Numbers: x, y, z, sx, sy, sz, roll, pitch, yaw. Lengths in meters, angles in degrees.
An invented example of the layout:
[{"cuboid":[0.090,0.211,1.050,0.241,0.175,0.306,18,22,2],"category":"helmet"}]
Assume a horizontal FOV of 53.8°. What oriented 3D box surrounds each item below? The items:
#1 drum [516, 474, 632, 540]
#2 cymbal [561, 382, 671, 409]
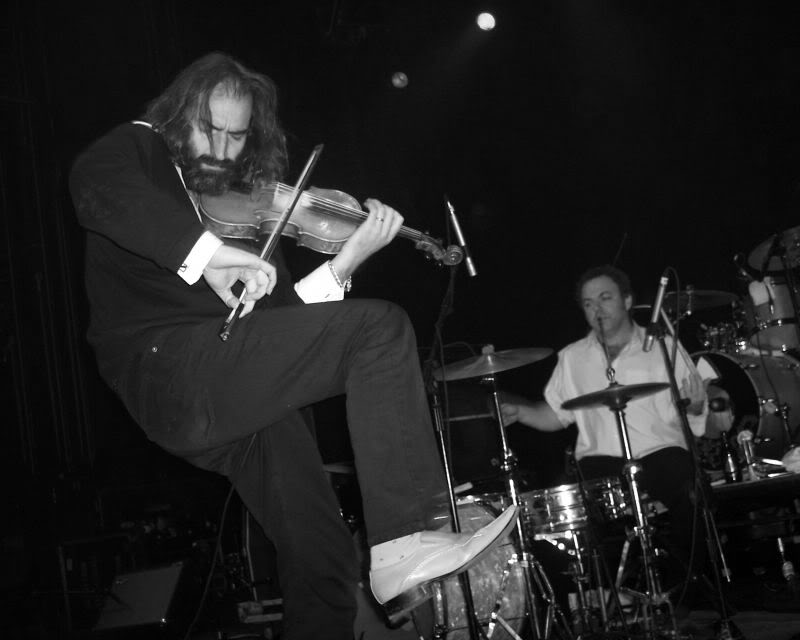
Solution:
[{"cuboid":[1.194,1.206,5.641,0.971,0.562,0.844,-2,0,14],"category":"drum"},{"cuboid":[1.518,0.541,5.481,0.695,0.208,0.610,-1,0,-42],"category":"cymbal"}]
